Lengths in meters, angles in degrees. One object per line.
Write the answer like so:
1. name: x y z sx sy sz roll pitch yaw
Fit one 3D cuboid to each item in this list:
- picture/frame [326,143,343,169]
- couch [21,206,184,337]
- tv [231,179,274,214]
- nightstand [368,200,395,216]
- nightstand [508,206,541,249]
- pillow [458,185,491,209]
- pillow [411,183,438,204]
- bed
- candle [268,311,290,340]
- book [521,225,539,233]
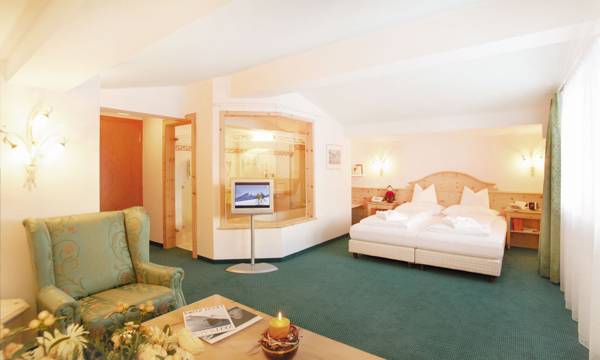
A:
1. picture/frame: 0.790 -0.569 8.222 0.013 0.459 0.693 3 4 37
2. couch: -2.379 1.167 4.400 1.260 1.369 1.561 3 4 37
3. tv: -0.898 0.314 6.494 0.704 0.533 0.275 1 -8 -8
4. nightstand: 2.216 0.632 9.516 0.669 0.563 0.439 0 0 39
5. nightstand: 5.006 1.084 7.896 1.029 0.806 0.638 2 -5 12
6. pillow: 4.200 0.398 8.406 0.543 0.469 0.215 3 -16 44
7. pillow: 3.219 0.339 9.013 0.535 0.505 0.167 7 -1 30
8. bed: 3.202 0.968 7.400 2.071 1.158 2.804 1 4 36
9. candle: -0.195 1.373 3.386 0.206 0.230 0.147 -1 15 -3
10. book: 5.063 1.083 7.736 0.309 0.111 0.292 7 15 26
